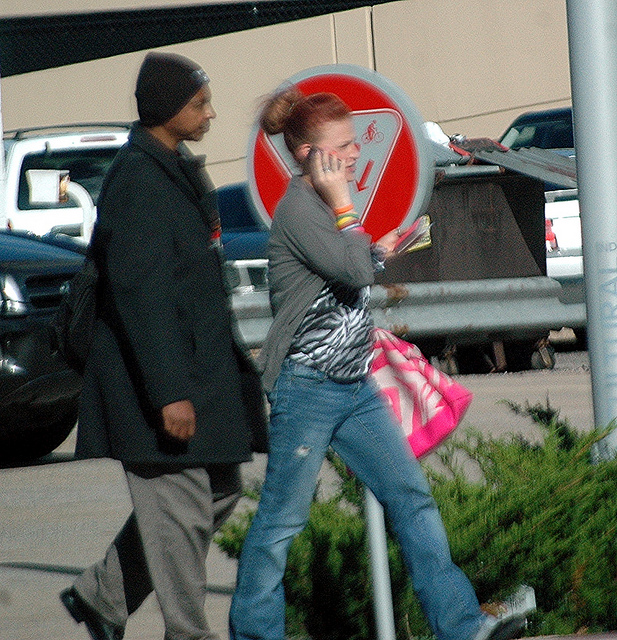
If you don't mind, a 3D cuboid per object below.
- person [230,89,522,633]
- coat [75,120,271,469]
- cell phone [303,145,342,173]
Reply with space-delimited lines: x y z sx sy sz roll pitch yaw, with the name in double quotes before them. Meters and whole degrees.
"person" 0.093 0.132 2.973 0.679 1.705 0.504 -10 -7 31
"coat" -0.467 -0.053 3.160 0.590 0.998 0.586 -1 3 17
"cell phone" 0.031 -0.476 2.836 0.120 0.093 0.072 -7 -6 12
